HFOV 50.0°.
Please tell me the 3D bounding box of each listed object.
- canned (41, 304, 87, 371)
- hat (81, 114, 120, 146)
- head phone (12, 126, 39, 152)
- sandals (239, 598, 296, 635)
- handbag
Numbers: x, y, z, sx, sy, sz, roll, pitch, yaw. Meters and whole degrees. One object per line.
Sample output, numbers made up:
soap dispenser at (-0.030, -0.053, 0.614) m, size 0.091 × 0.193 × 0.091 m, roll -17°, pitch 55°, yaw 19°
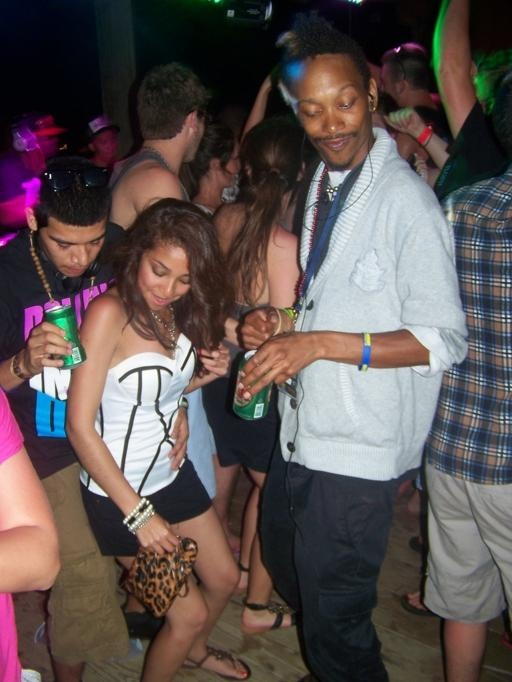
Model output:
canned at (-0.548, -0.004, 1.577) m, size 0.093 × 0.202 × 0.082 m, roll -9°, pitch 25°, yaw -19°
hat at (-1.367, -1.803, 4.710) m, size 0.328 × 0.144 × 0.233 m, roll -3°, pitch 41°, yaw 50°
head phone at (-1.685, -1.475, 4.021) m, size 0.159 × 0.162 × 0.271 m, roll -23°, pitch 19°, yaw -7°
sandals at (0.096, 1.222, 2.509) m, size 0.305 × 0.113 × 0.095 m, roll -3°, pitch 47°, yaw -32°
handbag at (-0.297, 0.737, 1.783) m, size 0.191 × 0.188 × 0.204 m, roll -19°, pitch 29°, yaw -37°
